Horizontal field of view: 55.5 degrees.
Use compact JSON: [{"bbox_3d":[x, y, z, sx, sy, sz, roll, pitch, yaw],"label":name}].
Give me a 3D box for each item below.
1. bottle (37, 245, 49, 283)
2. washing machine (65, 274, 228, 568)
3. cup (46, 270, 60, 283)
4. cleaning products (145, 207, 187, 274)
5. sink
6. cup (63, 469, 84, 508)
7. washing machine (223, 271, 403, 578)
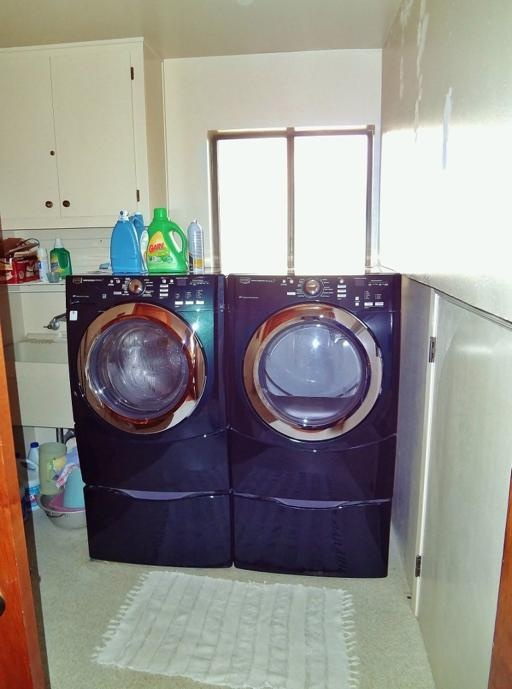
[{"bbox_3d":[-1.136,-0.430,2.607,0.054,0.182,0.202,-4,9,-24],"label":"bottle"},{"bbox_3d":[-0.397,0.252,2.098,0.611,1.256,0.636,3,13,10],"label":"washing machine"},{"bbox_3d":[-1.061,-0.353,2.562,0.057,0.054,0.052,-1,-1,0],"label":"cup"},{"bbox_3d":[-0.354,-0.411,1.925,0.169,0.254,0.195,-3,9,-12],"label":"cleaning products"},{"bbox_3d":[-1.073,0.182,2.462,0.244,0.391,0.563,-5,10,-27],"label":"sink"},{"bbox_3d":[-0.845,0.672,2.288,0.084,0.191,0.093,5,8,-1],"label":"cup"},{"bbox_3d":[0.220,0.206,2.041,0.754,1.298,0.768,11,24,29],"label":"washing machine"}]
